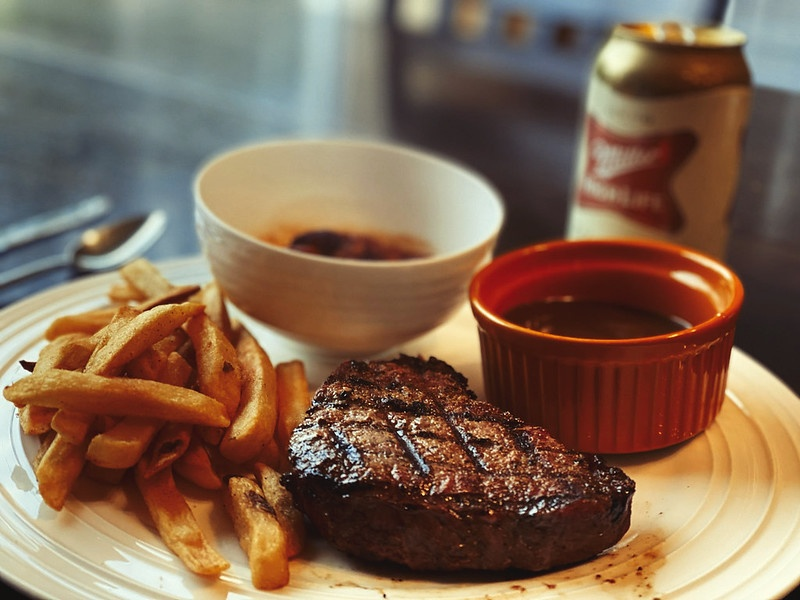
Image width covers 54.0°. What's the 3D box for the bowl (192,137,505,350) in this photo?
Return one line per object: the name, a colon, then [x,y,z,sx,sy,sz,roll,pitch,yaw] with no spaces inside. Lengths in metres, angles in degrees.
bowl: [-0.134,-0.157,1.731,0.609,0.269,0.567,7,23,-3]
